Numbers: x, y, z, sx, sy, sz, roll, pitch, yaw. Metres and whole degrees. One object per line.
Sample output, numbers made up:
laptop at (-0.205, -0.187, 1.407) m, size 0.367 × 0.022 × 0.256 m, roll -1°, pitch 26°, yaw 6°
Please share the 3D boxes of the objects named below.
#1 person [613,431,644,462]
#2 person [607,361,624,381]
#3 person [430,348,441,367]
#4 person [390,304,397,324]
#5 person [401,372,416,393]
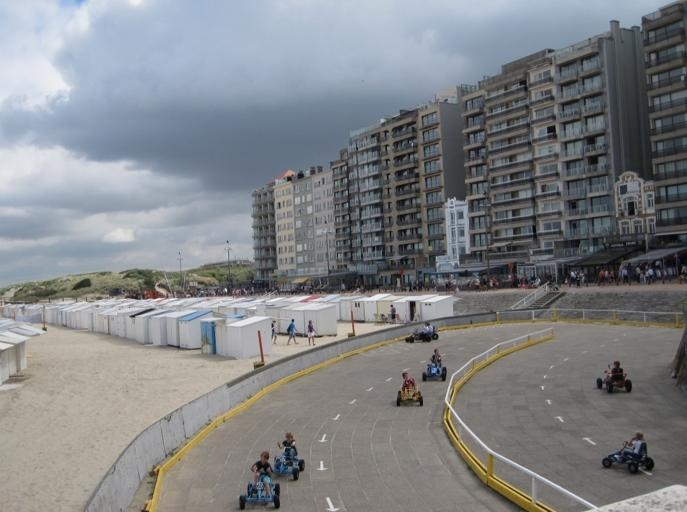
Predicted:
person at (12.756, 8.350, 29.258) m, size 0.696 × 0.889 × 1.516 m, roll 2°, pitch -4°, yaw 8°
person at (16.370, 7.032, 39.835) m, size 1.067 × 0.925 × 0.627 m, roll -3°, pitch 3°, yaw -3°
person at (6.412, 6.916, 45.266) m, size 0.601 × 1.297 × 1.310 m, roll -2°, pitch 3°, yaw 4°
person at (5.989, 6.701, 77.700) m, size 0.720 × 2.113 × 1.123 m, roll -2°, pitch 3°, yaw 4°
person at (3.898, 7.494, 39.661) m, size 0.813 × 1.003 × 1.121 m, roll -3°, pitch 3°, yaw -7°
